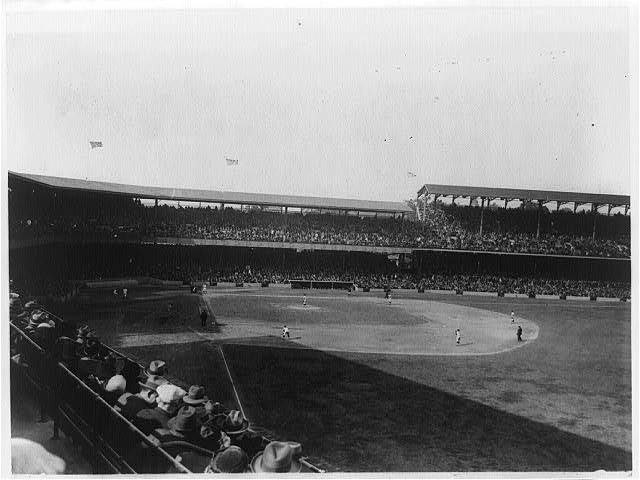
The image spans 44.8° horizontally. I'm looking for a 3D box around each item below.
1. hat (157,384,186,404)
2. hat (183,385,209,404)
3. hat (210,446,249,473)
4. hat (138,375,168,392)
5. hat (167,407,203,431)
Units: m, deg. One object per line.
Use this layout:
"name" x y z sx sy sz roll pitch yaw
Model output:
"hat" -2.860 2.899 14.788 0.524 0.289 0.383 2 1 -7
"hat" -2.365 2.965 14.903 0.283 0.182 0.378 10 5 28
"hat" -1.594 4.005 13.941 0.463 0.207 0.567 25 47 26
"hat" -3.258 2.737 14.995 0.343 0.150 0.325 5 -1 15
"hat" -2.440 3.301 14.295 0.397 0.204 0.482 18 2 23
